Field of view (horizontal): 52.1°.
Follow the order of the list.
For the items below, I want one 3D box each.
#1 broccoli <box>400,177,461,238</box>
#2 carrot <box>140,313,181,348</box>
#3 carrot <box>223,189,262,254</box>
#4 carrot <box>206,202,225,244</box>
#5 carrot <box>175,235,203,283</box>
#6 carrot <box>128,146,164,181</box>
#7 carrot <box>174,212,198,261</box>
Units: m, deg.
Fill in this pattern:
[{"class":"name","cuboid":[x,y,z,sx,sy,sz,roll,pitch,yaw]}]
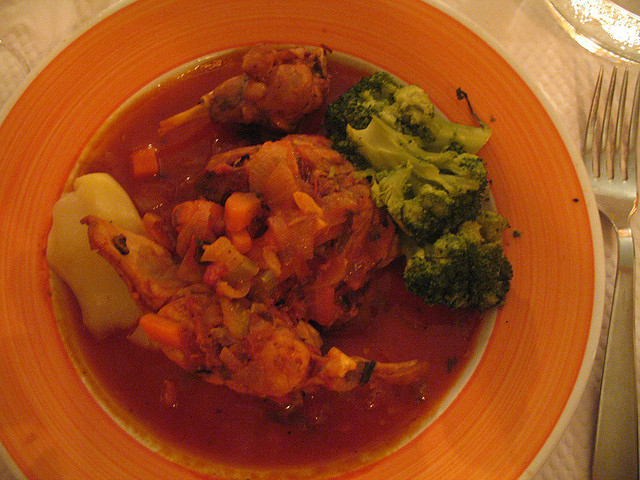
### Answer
[{"class":"broccoli","cuboid":[0.569,-0.145,3.341,0.227,0.113,0.315,18,96,-2]},{"class":"carrot","cuboid":[-0.793,0.451,3.303,0.207,0.072,0.119,29,70,1]},{"class":"carrot","cuboid":[-0.410,-0.097,3.396,0.182,0.094,0.314,12,85,-1]},{"class":"carrot","cuboid":[-0.543,-0.084,3.413,0.060,0.151,0.168,2,94,18]},{"class":"carrot","cuboid":[-0.664,0.120,3.426,0.127,0.094,0.248,24,85,0]},{"class":"carrot","cuboid":[-0.984,-0.420,3.674,0.131,0.076,0.135,-25,93,-5]},{"class":"carrot","cuboid":[-0.704,-0.013,3.434,0.043,0.198,0.212,15,92,-12]}]
